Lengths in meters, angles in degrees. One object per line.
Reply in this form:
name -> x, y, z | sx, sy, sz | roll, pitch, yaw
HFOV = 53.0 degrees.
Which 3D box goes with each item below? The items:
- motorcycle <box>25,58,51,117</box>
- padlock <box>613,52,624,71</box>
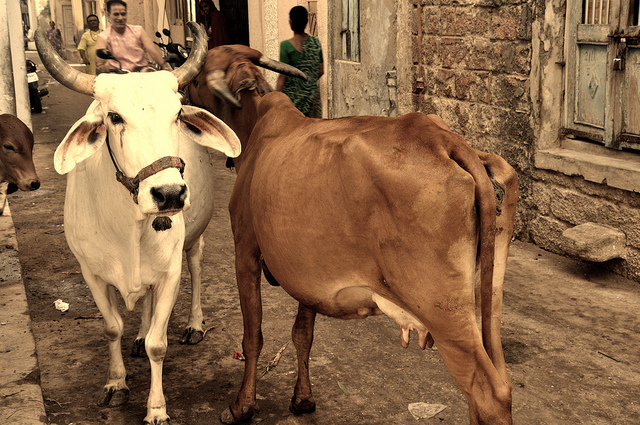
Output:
motorcycle -> -7.104, -3.131, 15.906 | 0.710, 1.260, 2.044 | -12, 13, -22
padlock -> 3.173, -1.616, 6.835 | 0.040, 0.192, 0.122 | -10, 20, -34
